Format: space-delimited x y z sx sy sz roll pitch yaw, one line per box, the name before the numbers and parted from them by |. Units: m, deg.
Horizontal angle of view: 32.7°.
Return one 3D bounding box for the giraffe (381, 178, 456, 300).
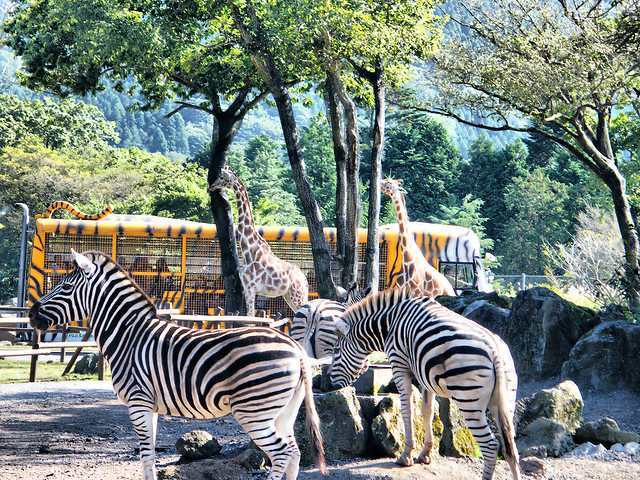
giraffe | 2.707 -0.106 31.168 1.882 3.526 1.399 0 -6 2
